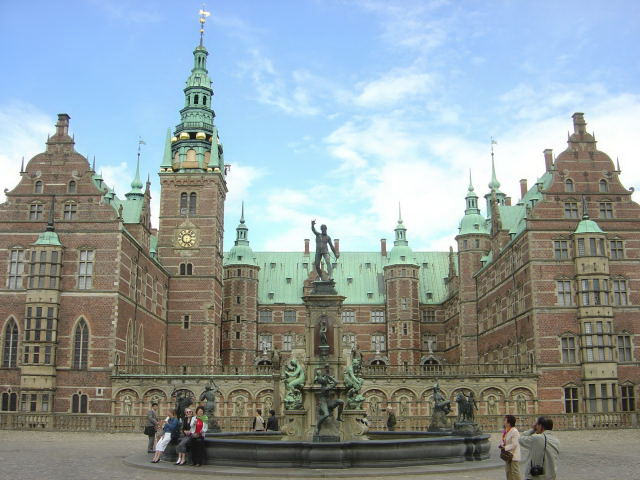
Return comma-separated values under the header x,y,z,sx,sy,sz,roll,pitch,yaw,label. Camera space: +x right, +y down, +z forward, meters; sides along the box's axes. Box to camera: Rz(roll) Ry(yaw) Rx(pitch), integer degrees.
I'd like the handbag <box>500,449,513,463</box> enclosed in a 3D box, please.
x,y,z,sx,sy,sz,roll,pitch,yaw,label
6.162,7.110,29.539,0.386,0.462,0.447,-3,-15,10,handbag

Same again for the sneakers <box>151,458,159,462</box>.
x,y,z,sx,sy,sz,roll,pitch,yaw,label
-6.560,8.855,35.841,0.341,0.124,0.256,5,-16,-20,sneakers

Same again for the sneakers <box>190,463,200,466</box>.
x,y,z,sx,sy,sz,roll,pitch,yaw,label
-4.891,8.873,35.337,0.322,0.212,0.108,0,-6,4,sneakers

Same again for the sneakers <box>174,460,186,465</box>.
x,y,z,sx,sy,sz,roll,pitch,yaw,label
-5.542,8.853,35.509,0.375,0.143,0.123,5,-17,-4,sneakers

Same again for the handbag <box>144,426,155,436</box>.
x,y,z,sx,sy,sz,roll,pitch,yaw,label
-7.106,8.056,37.827,0.548,0.527,0.348,0,-7,-6,handbag
